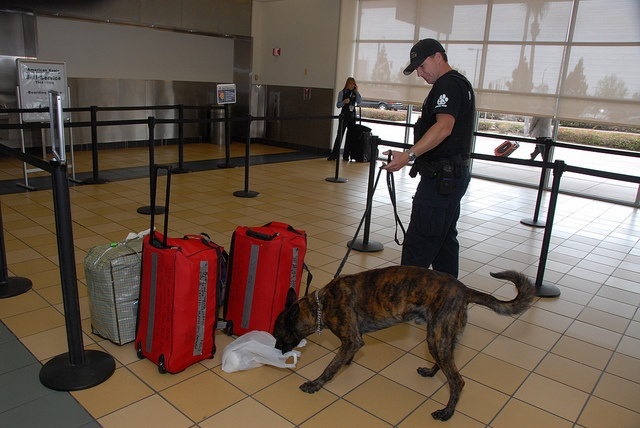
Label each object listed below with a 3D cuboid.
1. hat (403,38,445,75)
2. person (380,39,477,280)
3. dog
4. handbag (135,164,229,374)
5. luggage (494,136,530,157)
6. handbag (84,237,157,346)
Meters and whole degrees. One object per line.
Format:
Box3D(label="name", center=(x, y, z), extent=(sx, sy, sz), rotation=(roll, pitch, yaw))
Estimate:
Box3D(label="hat", center=(0.890, -1.356, 3.643), extent=(0.372, 0.216, 0.257), rotation=(-32, 20, 7))
Box3D(label="person", center=(0.958, -0.399, 3.679), extent=(0.863, 2.118, 0.524), rotation=(-12, 22, -39))
Box3D(label="dog", center=(0.475, 0.718, 3.726), extent=(2.435, 1.325, 0.869), rotation=(6, 14, 19))
Box3D(label="handbag", center=(-1.148, 0.435, 3.311), extent=(0.708, 1.561, 0.526), rotation=(0, 17, -8))
Box3D(label="luggage", center=(4.381, -1.559, 9.946), extent=(0.523, 0.348, 0.407), rotation=(9, 19, 21))
Box3D(label="handbag", center=(-1.608, 0.646, 3.449), extent=(0.418, 0.686, 0.695), rotation=(19, 25, 27))
